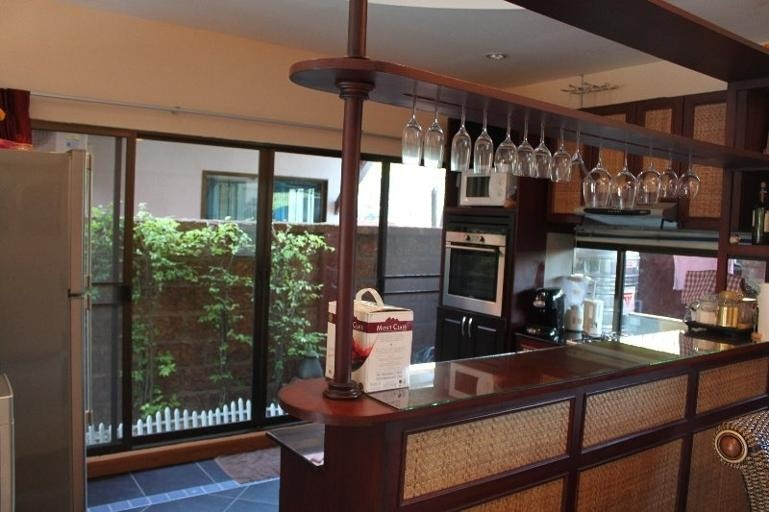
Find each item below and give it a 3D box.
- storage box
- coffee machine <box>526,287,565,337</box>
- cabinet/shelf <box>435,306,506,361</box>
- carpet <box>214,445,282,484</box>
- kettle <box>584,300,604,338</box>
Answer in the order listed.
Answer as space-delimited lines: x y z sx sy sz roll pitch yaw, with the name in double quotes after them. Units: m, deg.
-0.018 0.393 2.792 0.297 0.478 0.165 -3 3 -5 "storage box"
1.433 0.488 5.215 0.456 0.429 0.302 2 0 -33 "coffee machine"
0.805 0.693 5.346 0.213 0.492 0.543 5 -1 -38 "cabinet/shelf"
-1.093 1.690 4.759 0.512 0.080 0.502 -4 4 -18 "carpet"
1.847 0.540 5.200 0.180 0.317 0.163 -3 4 4 "kettle"
